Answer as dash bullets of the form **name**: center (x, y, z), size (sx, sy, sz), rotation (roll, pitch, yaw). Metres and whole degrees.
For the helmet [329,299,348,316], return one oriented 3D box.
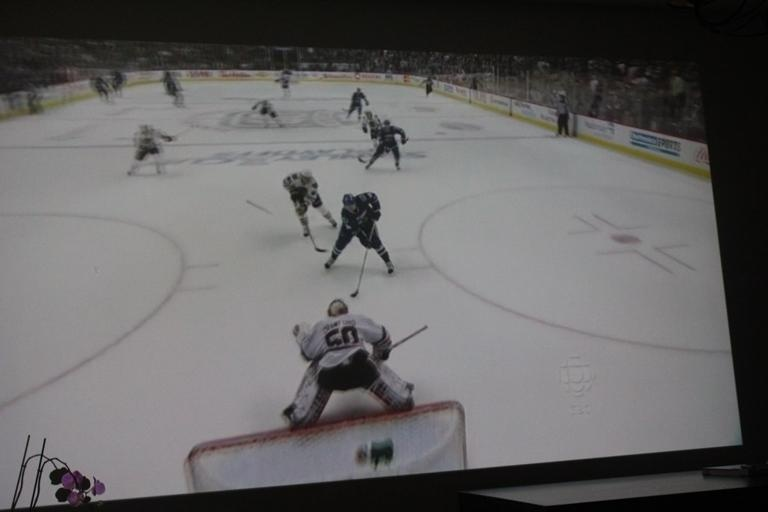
- **helmet**: center (-0.407, 0.464, 5.670), size (0.130, 0.159, 0.149), rotation (3, -1, 4)

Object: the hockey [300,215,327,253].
- **hockey**: center (-0.632, -0.169, 5.535), size (0.253, 0.269, 0.075), rotation (-2, 3, 0)

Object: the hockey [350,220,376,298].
- **hockey**: center (-0.151, 0.038, 5.707), size (0.079, 0.770, 0.110), rotation (18, -9, 3)

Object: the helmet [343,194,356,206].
- **helmet**: center (-0.311, -0.510, 5.748), size (0.073, 0.104, 0.097), rotation (8, -20, 13)

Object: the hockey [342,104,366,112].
- **hockey**: center (-0.282, -1.363, 5.795), size (0.257, 0.084, 0.064), rotation (1, 1, -10)

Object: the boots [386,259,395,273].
- **boots**: center (0.059, 0.092, 5.662), size (0.046, 0.128, 0.055), rotation (-6, 0, 6)
